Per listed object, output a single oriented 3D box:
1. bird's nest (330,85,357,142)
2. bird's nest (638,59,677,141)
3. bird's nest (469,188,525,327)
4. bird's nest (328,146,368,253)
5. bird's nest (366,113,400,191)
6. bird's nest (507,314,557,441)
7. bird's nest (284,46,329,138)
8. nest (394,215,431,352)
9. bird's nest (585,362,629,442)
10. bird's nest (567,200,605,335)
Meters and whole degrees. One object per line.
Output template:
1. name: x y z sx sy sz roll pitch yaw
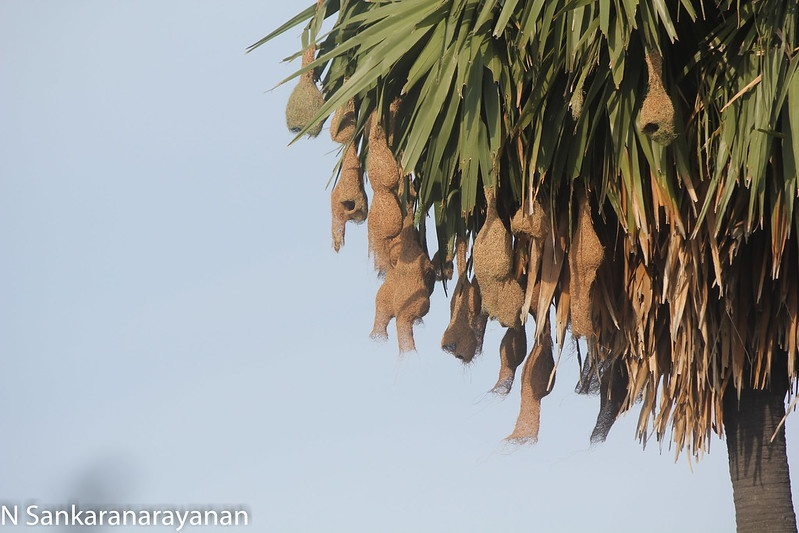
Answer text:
1. bird's nest: -0.311 -0.824 10.182 0.146 0.271 0.098 2 7 -19
2. bird's nest: 1.292 -0.839 9.407 0.179 0.441 0.247 -2 -24 8
3. bird's nest: 0.509 -0.048 9.692 0.230 0.673 0.330 -5 -25 15
4. bird's nest: -0.250 -0.333 8.848 0.173 0.575 0.184 2 -9 -14
5. bird's nest: -0.083 -0.644 9.933 0.174 0.490 0.280 2 -24 0
6. bird's nest: 0.742 0.611 10.211 0.285 0.734 0.296 7 -25 -12
7. bird's nest: -0.499 -0.905 9.879 0.191 0.664 0.482 3 -24 -4
8. nest: 0.039 0.113 10.057 0.207 0.781 0.270 6 -13 -25
9. bird's nest: 1.180 0.788 10.543 0.215 0.512 0.519 -1 -25 6
10. bird's nest: 0.964 -0.010 9.784 0.159 0.686 0.301 4 -24 -4
